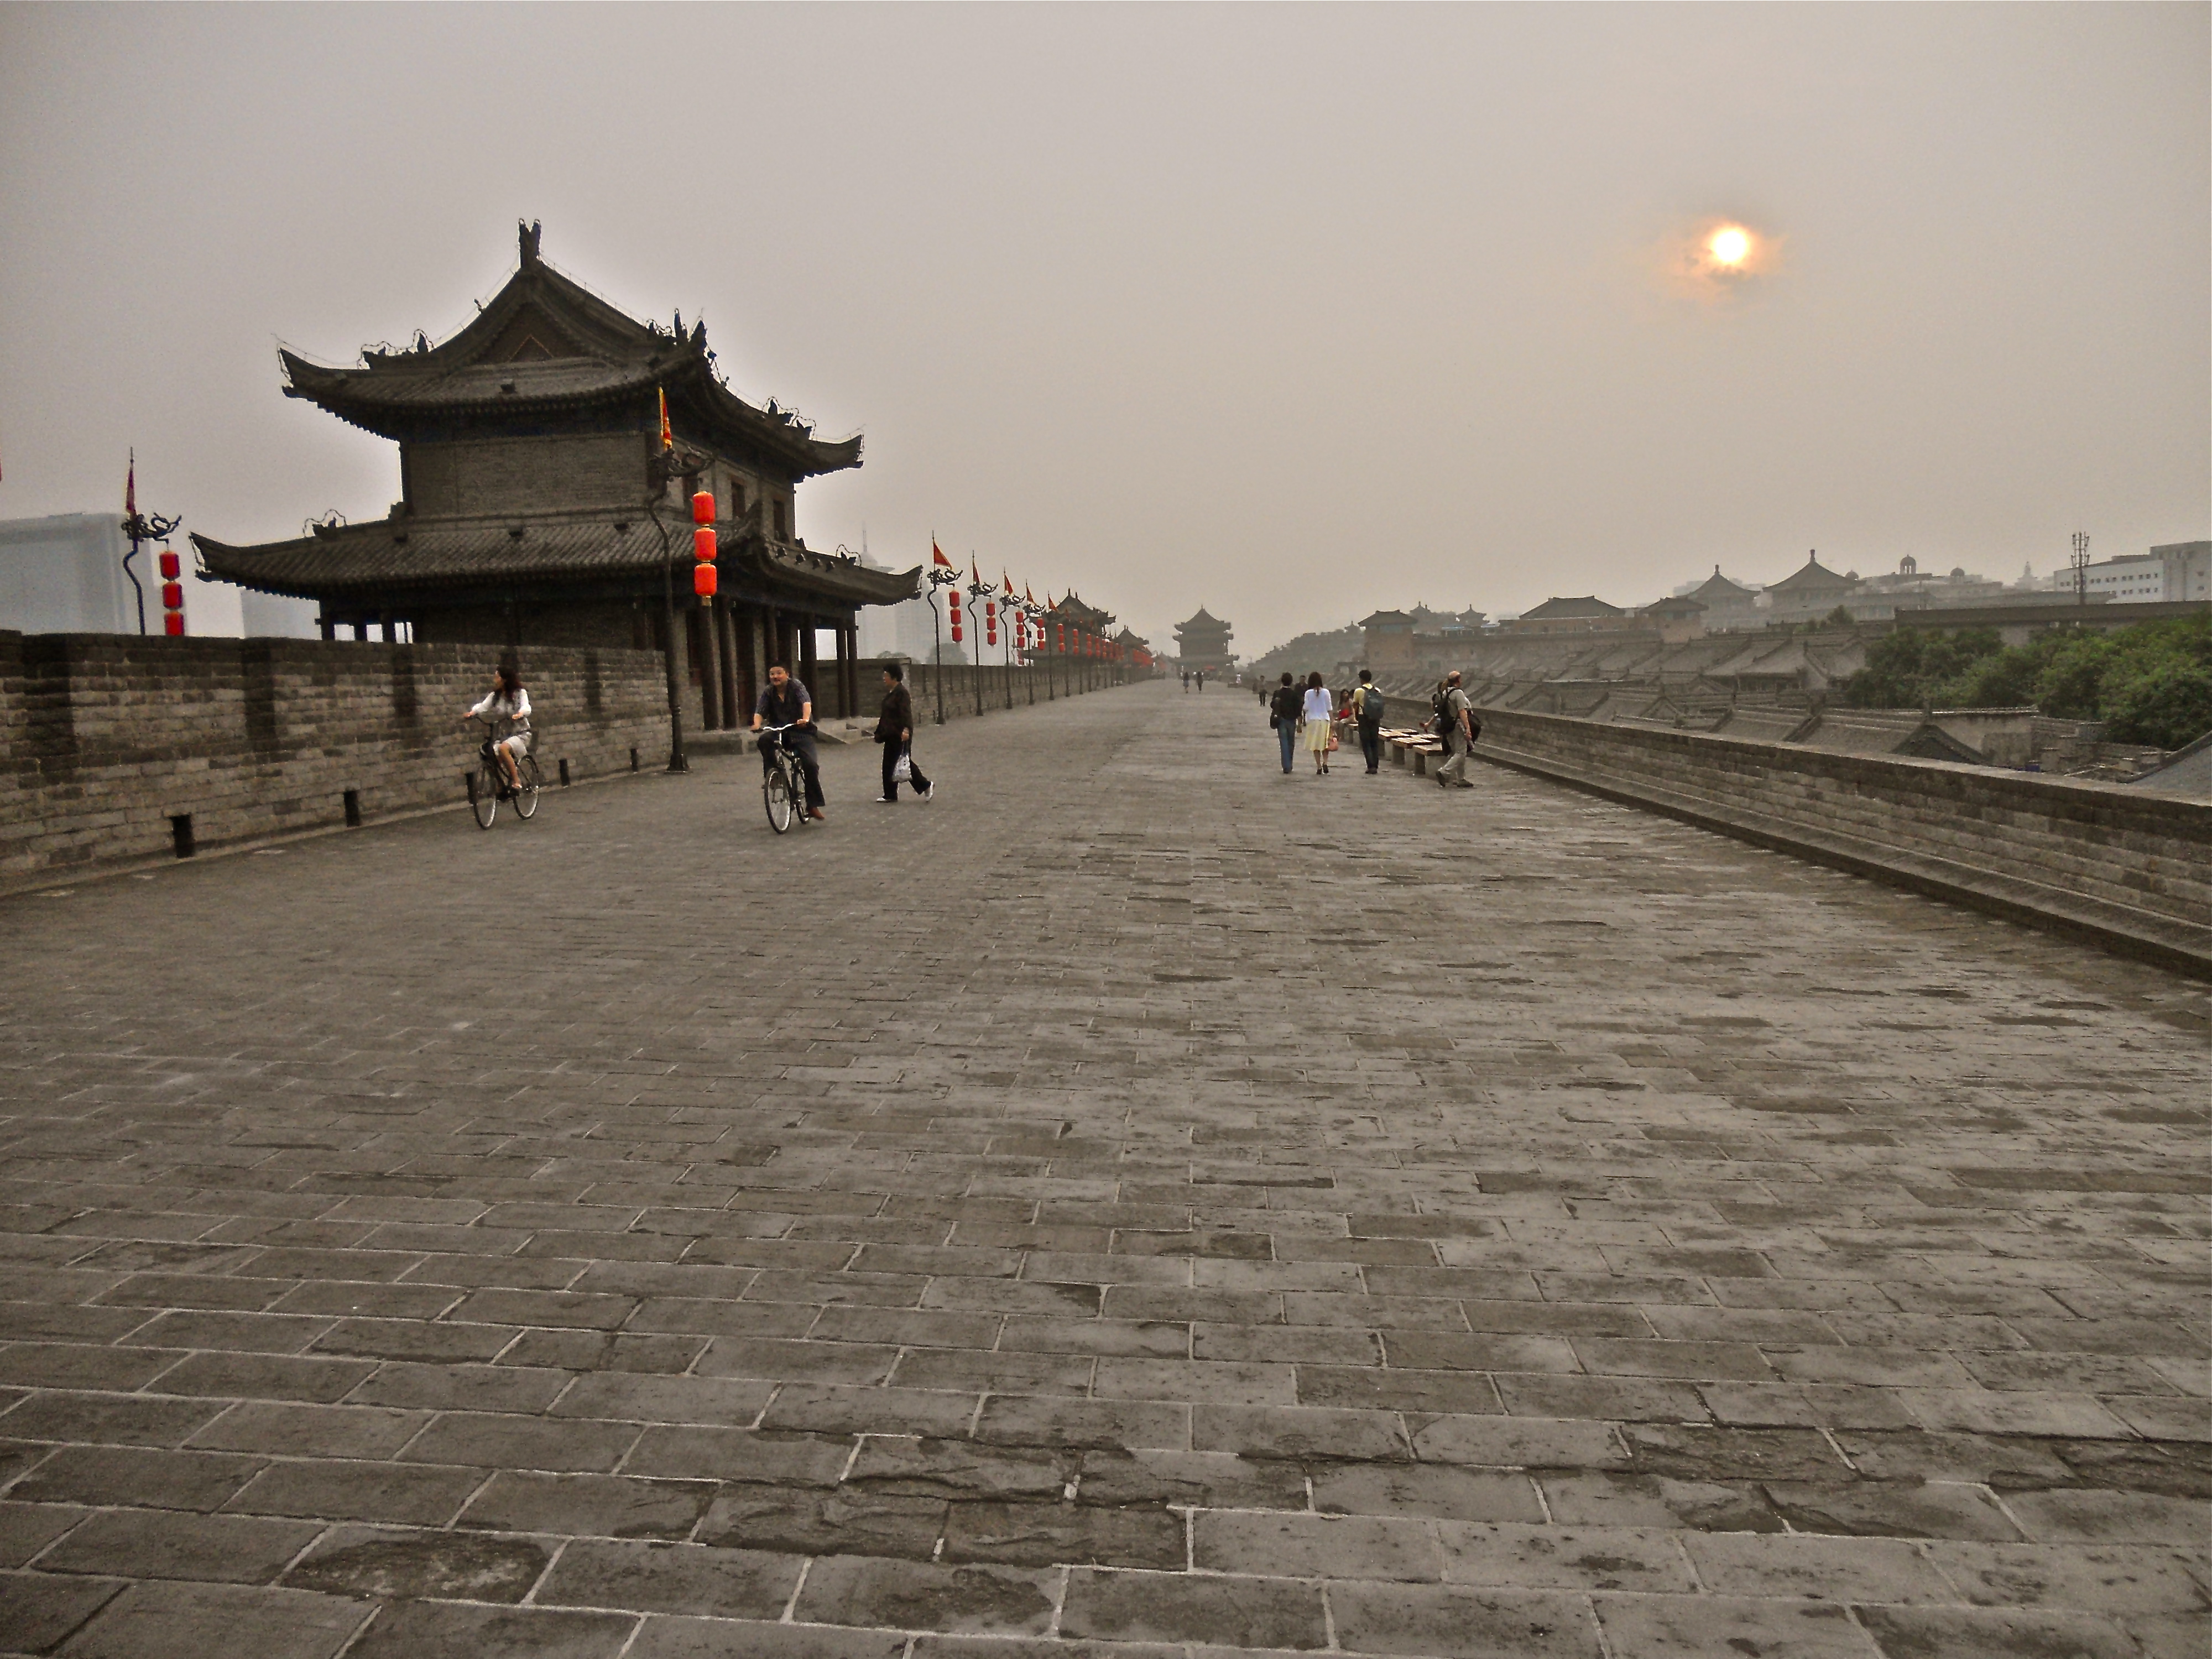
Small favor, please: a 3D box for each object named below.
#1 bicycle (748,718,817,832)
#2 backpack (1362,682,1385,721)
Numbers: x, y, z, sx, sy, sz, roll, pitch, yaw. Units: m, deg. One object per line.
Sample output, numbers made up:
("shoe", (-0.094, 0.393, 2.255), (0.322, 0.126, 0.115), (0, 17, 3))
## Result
("bicycle", (-3.192, -0.534, 15.793), (0.421, 1.006, 1.351), (-2, 8, -3))
("backpack", (3.837, -1.869, 23.376), (0.313, 0.713, 1.011), (0, 8, 7))
